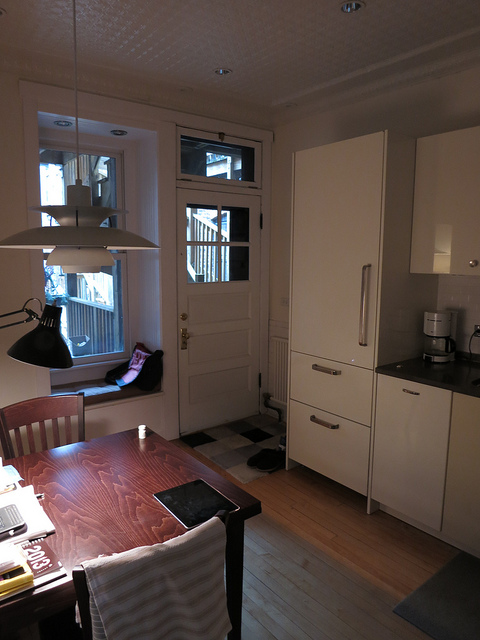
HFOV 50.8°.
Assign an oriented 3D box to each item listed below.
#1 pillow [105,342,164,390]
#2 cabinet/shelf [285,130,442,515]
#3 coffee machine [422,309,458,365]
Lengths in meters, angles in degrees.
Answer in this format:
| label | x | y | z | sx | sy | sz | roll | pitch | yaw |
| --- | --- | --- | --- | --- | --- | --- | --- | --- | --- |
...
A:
| label | x | y | z | sx | sy | sz | roll | pitch | yaw |
| --- | --- | --- | --- | --- | --- | --- | --- | --- | --- |
| pillow | -0.738 | 0.371 | 3.644 | 0.292 | 0.170 | 0.358 | 23 | 51 | 37 |
| cabinet/shelf | 0.791 | -0.044 | 3.095 | 0.693 | 2.319 | 0.719 | -5 | 9 | -36 |
| coffee machine | 1.095 | 0.091 | 2.779 | 0.145 | 0.316 | 0.153 | -3 | 10 | -34 |
